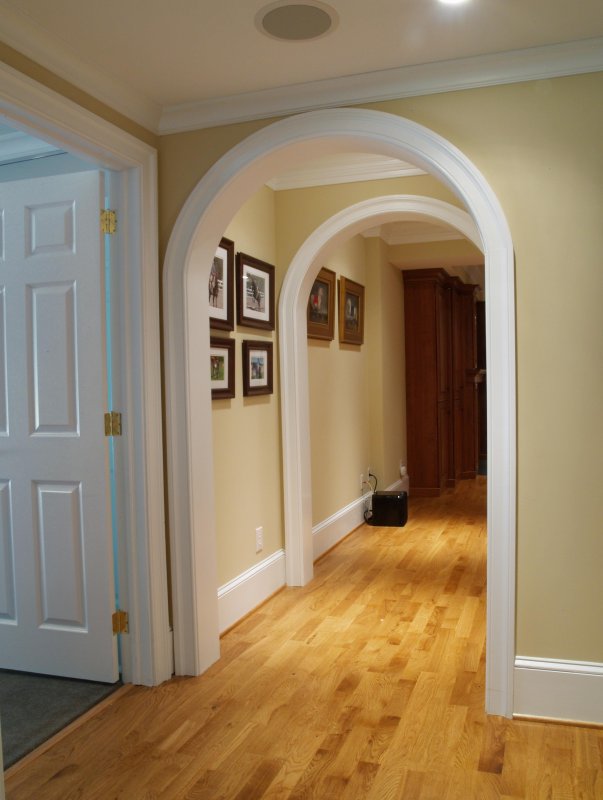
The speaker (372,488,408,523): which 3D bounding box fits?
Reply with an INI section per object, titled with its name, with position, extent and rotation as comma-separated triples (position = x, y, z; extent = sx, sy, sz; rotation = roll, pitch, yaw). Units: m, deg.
[speaker]
position = 0.802, 0.918, 5.530
extent = 0.228, 0.359, 0.282
rotation = 0, -1, 10
